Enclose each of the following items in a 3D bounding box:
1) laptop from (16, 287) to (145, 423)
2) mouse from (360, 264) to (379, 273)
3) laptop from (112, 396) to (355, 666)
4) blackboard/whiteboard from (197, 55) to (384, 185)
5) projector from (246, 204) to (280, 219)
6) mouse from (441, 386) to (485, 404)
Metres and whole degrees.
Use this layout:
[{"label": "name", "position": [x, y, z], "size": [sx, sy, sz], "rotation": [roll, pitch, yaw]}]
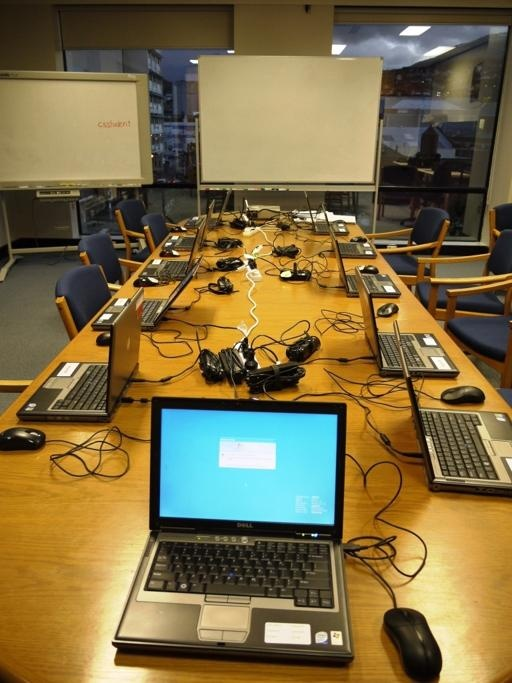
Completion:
[{"label": "laptop", "position": [-0.506, 0.023, 1.485], "size": [0.283, 0.291, 0.370], "rotation": [2, 20, -5]}, {"label": "mouse", "position": [0.627, -0.402, 2.773], "size": [0.086, 0.025, 0.053], "rotation": [4, 25, 1]}, {"label": "laptop", "position": [-0.027, 0.274, 0.795], "size": [0.341, 0.228, 0.331], "rotation": [2, 25, 4]}, {"label": "blackboard/whiteboard", "position": [0.348, -2.473, 5.453], "size": [1.589, 1.087, 0.053], "rotation": [1, 29, 0]}, {"label": "projector", "position": [0.072, -1.258, 4.788], "size": [0.342, 0.079, 0.314], "rotation": [2, 19, 3]}, {"label": "mouse", "position": [0.589, 0.156, 1.430], "size": [0.096, 0.034, 0.057], "rotation": [4, 20, 8]}]
